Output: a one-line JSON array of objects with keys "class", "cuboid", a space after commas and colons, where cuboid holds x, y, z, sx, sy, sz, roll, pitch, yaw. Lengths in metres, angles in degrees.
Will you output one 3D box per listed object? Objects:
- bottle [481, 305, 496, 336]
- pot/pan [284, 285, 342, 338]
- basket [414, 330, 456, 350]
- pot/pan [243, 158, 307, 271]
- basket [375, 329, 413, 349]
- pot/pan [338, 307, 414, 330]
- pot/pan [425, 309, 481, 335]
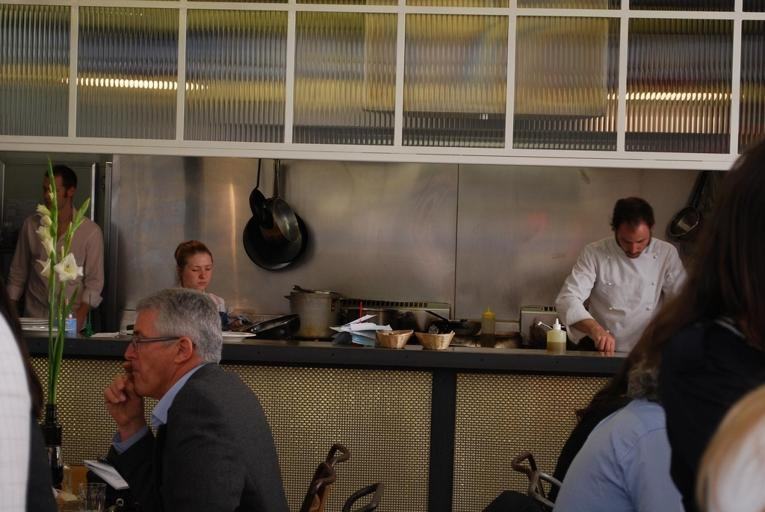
[{"class": "bottle", "cuboid": [0.631, 0.410, 5.464, 0.074, 0.138, 0.209, 1, -1, 6]}, {"class": "pot/pan", "cuboid": [-0.420, 0.344, 5.308, 0.396, 0.327, 0.255, 1, -6, 0]}, {"class": "basket", "cuboid": [0.256, 0.435, 4.614, 0.176, 0.079, 0.257, 1, -1, 2]}, {"class": "pot/pan", "cuboid": [-0.744, -0.268, 6.286, 0.479, 0.742, 0.536, 1, -1, -9]}, {"class": "basket", "cuboid": [0.052, 0.426, 4.648, 0.180, 0.085, 0.214, 1, -1, -1]}, {"class": "pot/pan", "cuboid": [0.014, 0.423, 6.060, 0.439, 0.136, 0.176, 2, -1, -34]}, {"class": "pot/pan", "cuboid": [0.464, 0.461, 6.184, 0.257, 0.173, 0.630, 1, -1, 30]}]
